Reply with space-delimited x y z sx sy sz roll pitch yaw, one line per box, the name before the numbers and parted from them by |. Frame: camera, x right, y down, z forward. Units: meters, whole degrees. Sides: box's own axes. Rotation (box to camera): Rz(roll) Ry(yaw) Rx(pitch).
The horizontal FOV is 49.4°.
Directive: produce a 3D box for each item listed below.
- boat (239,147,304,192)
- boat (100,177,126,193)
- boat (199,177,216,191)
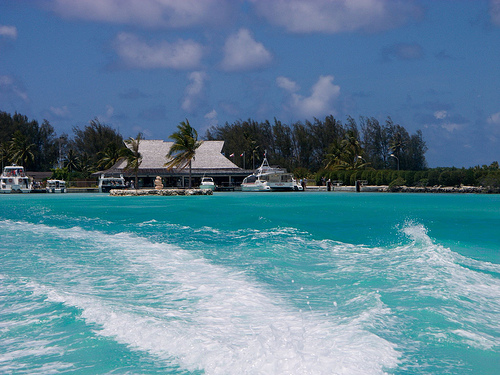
boat | 1.931 -0.757 56.528 5.543 2.539 9.010 0 10 -4
boat | -13.461 -0.149 53.249 1.662 1.059 2.921 -1 1 -11
boat | -4.386 -0.318 55.058 1.360 1.348 4.634 -1 -1 -5
